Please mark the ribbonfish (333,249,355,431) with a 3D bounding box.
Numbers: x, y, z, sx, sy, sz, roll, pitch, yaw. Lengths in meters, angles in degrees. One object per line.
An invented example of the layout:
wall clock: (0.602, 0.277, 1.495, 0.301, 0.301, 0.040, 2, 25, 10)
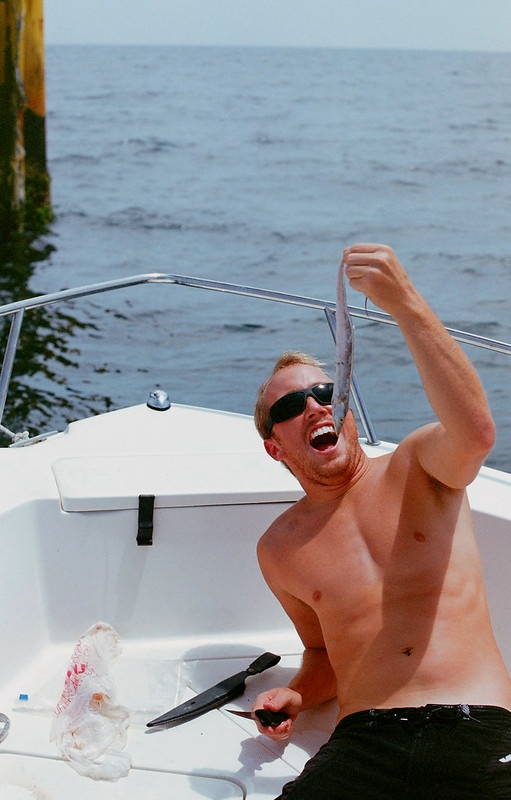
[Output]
ribbonfish: (0.168, -0.086, 1.874, 0.051, 0.269, 0.057, 6, 24, 9)
